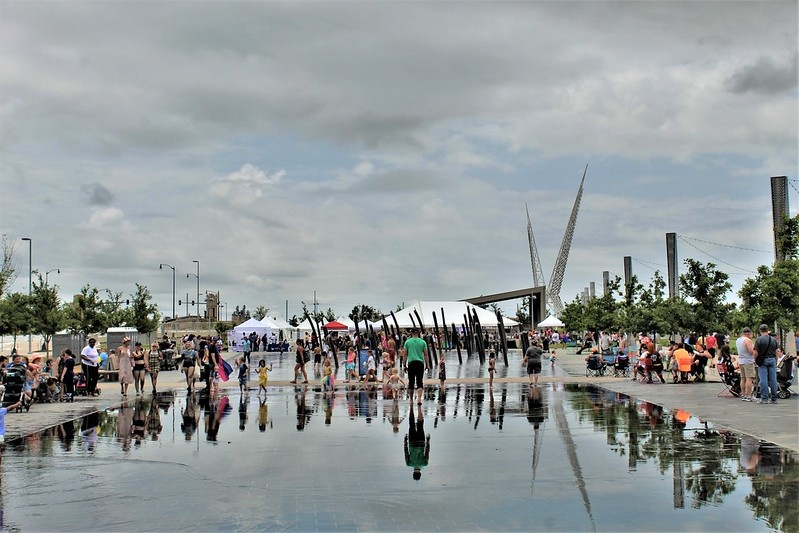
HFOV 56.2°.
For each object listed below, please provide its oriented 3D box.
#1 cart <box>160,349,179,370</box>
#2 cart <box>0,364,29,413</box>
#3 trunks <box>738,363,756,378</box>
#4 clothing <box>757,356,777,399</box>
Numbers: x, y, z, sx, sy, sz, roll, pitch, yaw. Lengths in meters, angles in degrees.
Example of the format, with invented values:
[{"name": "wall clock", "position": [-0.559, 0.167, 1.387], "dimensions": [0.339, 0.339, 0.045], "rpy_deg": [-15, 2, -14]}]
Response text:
[{"name": "cart", "position": [-12.130, 4.870, 39.171], "dimensions": [0.995, 0.668, 1.438], "rpy_deg": [1, -9, -10]}, {"name": "cart", "position": [-10.550, 3.200, 20.268], "dimensions": [0.548, 1.143, 1.381], "rpy_deg": [3, -6, -28]}, {"name": "trunks", "position": [9.903, 2.948, 21.321], "dimensions": [0.252, 0.380, 0.408], "rpy_deg": [18, -24, -27]}, {"name": "clothing", "position": [10.315, 3.164, 21.015], "dimensions": [0.462, 1.208, 0.592], "rpy_deg": [-2, -5, 26]}]
